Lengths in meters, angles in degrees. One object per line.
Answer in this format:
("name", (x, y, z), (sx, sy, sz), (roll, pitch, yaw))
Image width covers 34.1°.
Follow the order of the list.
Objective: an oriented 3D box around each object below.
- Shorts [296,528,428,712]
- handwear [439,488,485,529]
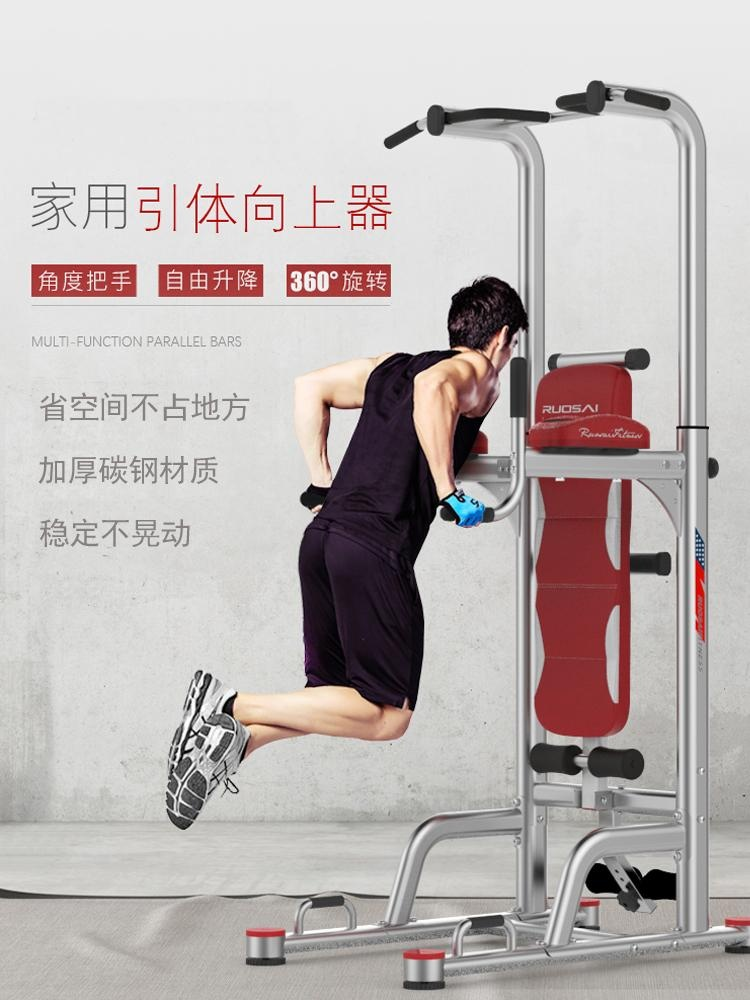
("Shorts", (-0.060, 0.246, 2.603), (0.305, 0.390, 0.228), (-2, 8, 17))
("handwear", (0.156, 0.018, 2.289), (0.076, 0.074, 0.031), (35, -26, 7))
